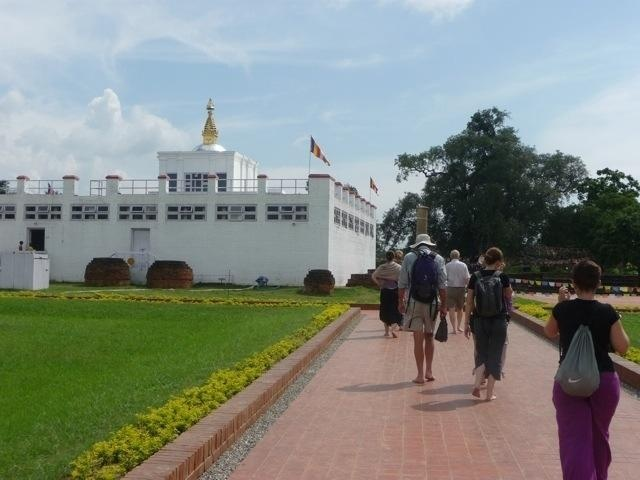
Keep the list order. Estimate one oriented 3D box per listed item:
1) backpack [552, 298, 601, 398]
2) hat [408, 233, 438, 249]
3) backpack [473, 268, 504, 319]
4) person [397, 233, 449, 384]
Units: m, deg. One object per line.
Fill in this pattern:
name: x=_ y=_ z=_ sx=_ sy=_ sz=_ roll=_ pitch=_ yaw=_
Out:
backpack: x=2.360 y=1.094 z=5.750 sx=0.407 sy=0.625 sz=0.286 roll=7 pitch=-7 yaw=4
hat: x=1.706 y=0.015 z=10.308 sx=0.491 sy=0.274 sz=0.512 roll=2 pitch=6 yaw=37
backpack: x=2.336 y=0.751 z=8.814 sx=0.413 sy=0.630 sz=0.338 roll=-4 pitch=13 yaw=13
person: x=1.606 y=1.040 z=9.917 sx=1.010 sy=2.275 sz=1.049 roll=2 pitch=-7 yaw=-1
